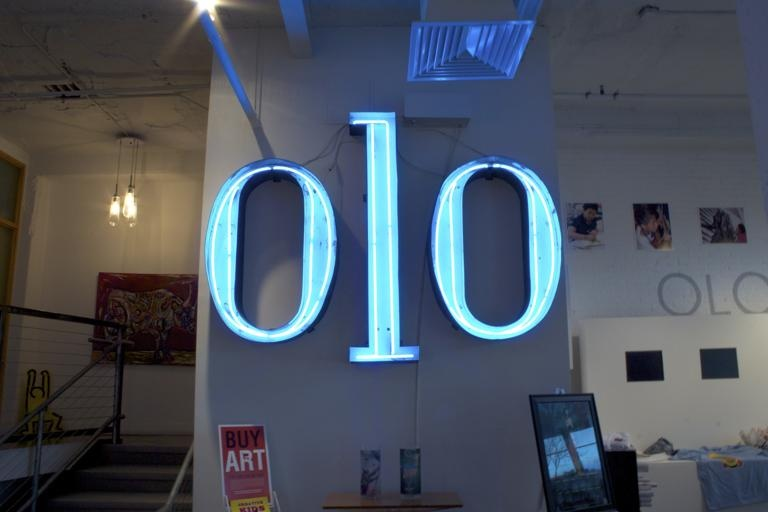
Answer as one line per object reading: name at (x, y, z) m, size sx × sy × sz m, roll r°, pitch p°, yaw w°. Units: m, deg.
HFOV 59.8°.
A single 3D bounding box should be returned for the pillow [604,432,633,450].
pillow at (2.773, 2.210, 7.868) m, size 0.341 × 0.133 × 0.275 m, roll -1°, pitch -4°, yaw 9°
